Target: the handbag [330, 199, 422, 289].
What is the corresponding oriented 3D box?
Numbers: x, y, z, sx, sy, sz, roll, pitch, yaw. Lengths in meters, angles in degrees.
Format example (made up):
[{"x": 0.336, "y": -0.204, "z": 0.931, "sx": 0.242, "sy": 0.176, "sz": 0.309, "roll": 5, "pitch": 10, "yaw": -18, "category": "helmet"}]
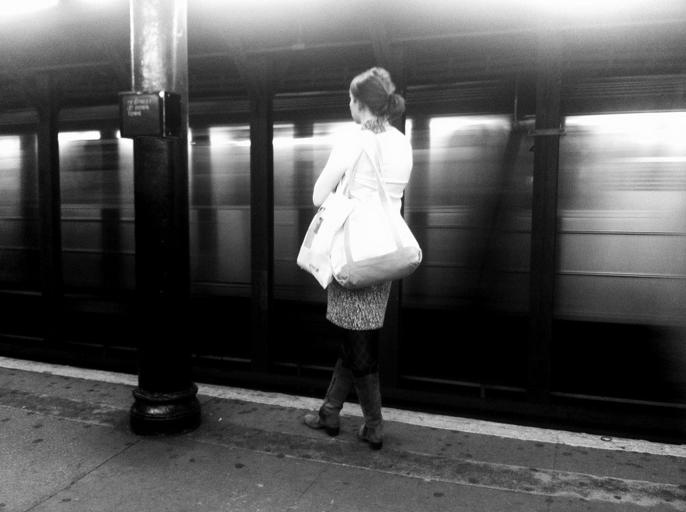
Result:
[{"x": 0.167, "y": -0.075, "z": 3.272, "sx": 0.532, "sy": 0.542, "sz": 0.245, "roll": -8, "pitch": -16, "yaw": -3, "category": "handbag"}]
